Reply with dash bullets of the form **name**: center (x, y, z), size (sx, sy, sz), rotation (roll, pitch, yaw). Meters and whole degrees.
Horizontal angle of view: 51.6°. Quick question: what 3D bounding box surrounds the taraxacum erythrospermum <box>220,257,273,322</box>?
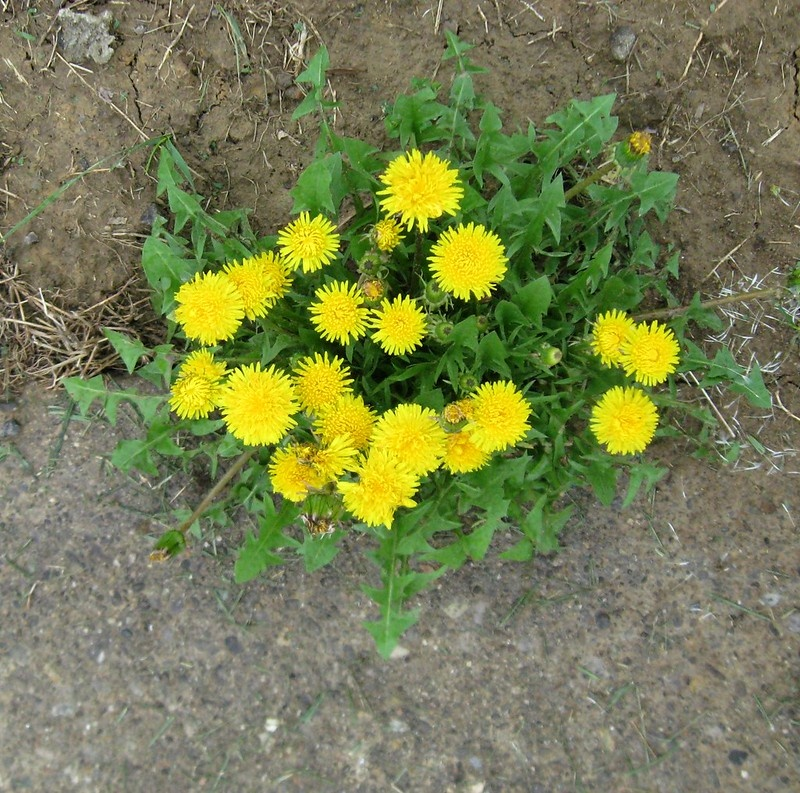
- **taraxacum erythrospermum**: center (-0.612, -0.392, 3.244), size (0.213, 0.081, 0.229), rotation (33, 58, -37)

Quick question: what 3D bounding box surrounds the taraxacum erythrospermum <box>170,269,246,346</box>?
- **taraxacum erythrospermum**: center (-0.727, -0.332, 3.141), size (0.249, 0.119, 0.291), rotation (-9, 96, 11)

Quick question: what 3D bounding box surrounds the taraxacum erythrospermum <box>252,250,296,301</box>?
- **taraxacum erythrospermum**: center (-0.508, -0.491, 3.322), size (0.063, 0.176, 0.186), rotation (-19, 71, 14)

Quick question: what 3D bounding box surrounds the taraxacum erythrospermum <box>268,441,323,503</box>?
- **taraxacum erythrospermum**: center (-0.408, 0.274, 3.186), size (0.194, 0.093, 0.236), rotation (7, 91, 17)

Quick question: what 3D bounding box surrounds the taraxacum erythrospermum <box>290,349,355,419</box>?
- **taraxacum erythrospermum**: center (-0.323, -0.050, 3.255), size (0.224, 0.094, 0.250), rotation (-24, 83, 11)

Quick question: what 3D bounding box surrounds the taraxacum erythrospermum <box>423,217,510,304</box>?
- **taraxacum erythrospermum**: center (0.254, -0.503, 3.167), size (0.278, 0.128, 0.310), rotation (31, 75, -9)

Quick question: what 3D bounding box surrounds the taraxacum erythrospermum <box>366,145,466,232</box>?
- **taraxacum erythrospermum**: center (0.073, -0.749, 3.028), size (0.288, 0.169, 0.343), rotation (20, 94, 1)

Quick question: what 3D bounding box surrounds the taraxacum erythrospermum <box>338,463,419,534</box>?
- **taraxacum erythrospermum**: center (-0.076, 0.343, 3.037), size (0.240, 0.107, 0.261), rotation (33, 96, 12)

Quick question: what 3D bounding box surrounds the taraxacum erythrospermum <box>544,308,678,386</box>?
- **taraxacum erythrospermum**: center (0.921, -0.196, 3.288), size (0.344, 0.289, 0.233), rotation (29, 87, 2)

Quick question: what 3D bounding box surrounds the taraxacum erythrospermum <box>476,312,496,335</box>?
- **taraxacum erythrospermum**: center (0.343, -0.295, 3.360), size (0.076, 0.097, 0.087), rotation (16, 104, 1)
